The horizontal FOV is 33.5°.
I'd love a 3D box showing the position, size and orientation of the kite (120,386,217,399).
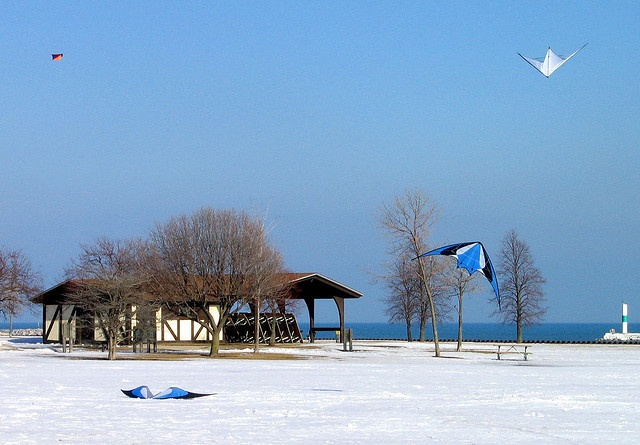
[{"bbox_3d":[-5.188,5.634,35.488,3.029,0.316,1.395,0,-1,3],"label":"kite"}]
